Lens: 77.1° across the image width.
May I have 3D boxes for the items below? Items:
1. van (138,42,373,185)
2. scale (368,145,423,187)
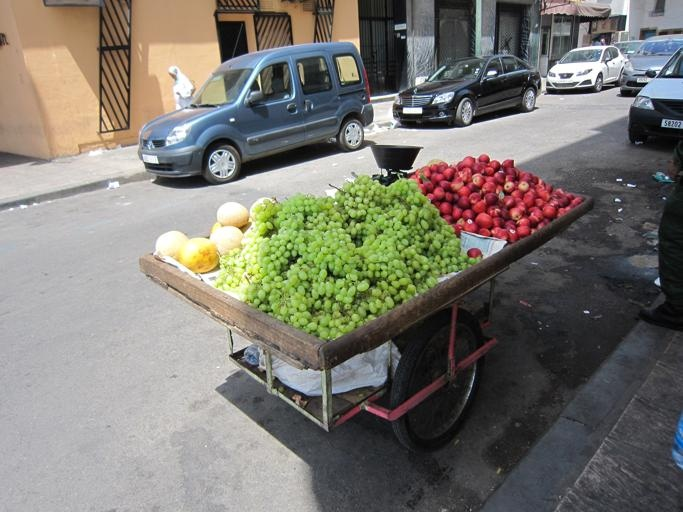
[{"bbox_3d":[-2.196,-3.572,11.015,5.670,3.072,3.118,-19,26,-33],"label":"van"},{"bbox_3d":[0.527,-0.922,4.195,0.430,0.370,0.520,4,20,13],"label":"scale"}]
